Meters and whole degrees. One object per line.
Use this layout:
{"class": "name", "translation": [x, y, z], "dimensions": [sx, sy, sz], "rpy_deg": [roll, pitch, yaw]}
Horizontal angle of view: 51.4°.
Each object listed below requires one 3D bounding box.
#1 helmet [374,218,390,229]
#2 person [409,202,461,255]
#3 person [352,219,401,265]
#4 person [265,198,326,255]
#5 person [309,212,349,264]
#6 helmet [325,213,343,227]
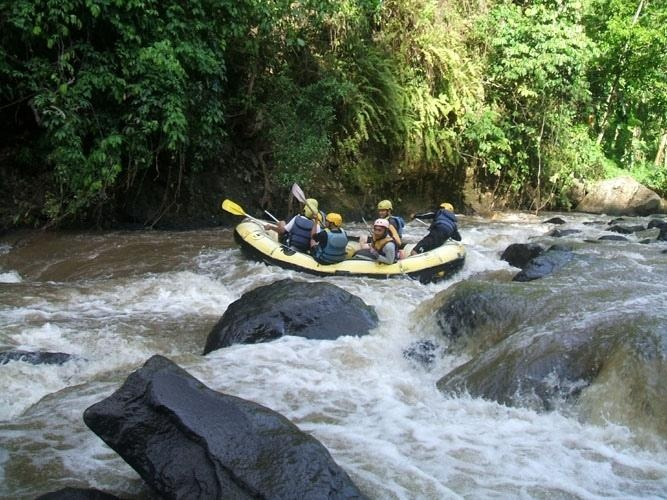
{"class": "helmet", "translation": [0.951, -0.535, 13.523], "dimensions": [0.288, 0.169, 0.396], "rpy_deg": [-2, 16, 5]}
{"class": "person", "translation": [2.306, -0.456, 16.015], "dimensions": [0.689, 0.842, 1.411], "rpy_deg": [-12, 18, 36]}
{"class": "person", "translation": [0.837, -0.213, 13.686], "dimensions": [0.838, 0.864, 1.169], "rpy_deg": [-14, 19, -33]}
{"class": "person", "translation": [-0.649, -0.456, 13.935], "dimensions": [0.747, 0.766, 1.371], "rpy_deg": [6, 17, -24]}
{"class": "person", "translation": [-0.069, -0.242, 13.585], "dimensions": [0.781, 1.000, 0.746], "rpy_deg": [12, 15, 20]}
{"class": "helmet", "translation": [-0.005, -0.627, 13.648], "dimensions": [0.218, 0.166, 0.314], "rpy_deg": [-6, 33, -37]}
